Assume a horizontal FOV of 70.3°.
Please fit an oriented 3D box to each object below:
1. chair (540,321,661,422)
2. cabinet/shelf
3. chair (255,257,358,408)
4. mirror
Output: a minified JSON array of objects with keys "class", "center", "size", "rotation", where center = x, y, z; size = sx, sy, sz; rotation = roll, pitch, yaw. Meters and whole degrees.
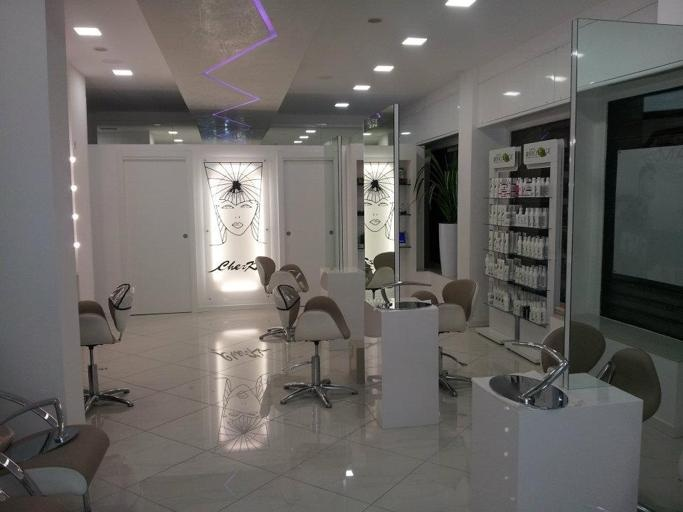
[{"class":"chair","center":[1.546,0.650,3.119],"size":[0.525,0.677,0.722],"rotation":[-11,0,-14]},{"class":"cabinet/shelf","center":[2.250,-0.065,5.863],"size":[0.549,2.553,1.396],"rotation":[-2,9,-5]},{"class":"chair","center":[-0.459,0.763,5.375],"size":[1.254,1.701,1.273],"rotation":[-1,0,-2]},{"class":"mirror","center":[0.411,-0.573,4.770],"size":[0.257,1.660,0.770],"rotation":[-3,9,-13]}]
